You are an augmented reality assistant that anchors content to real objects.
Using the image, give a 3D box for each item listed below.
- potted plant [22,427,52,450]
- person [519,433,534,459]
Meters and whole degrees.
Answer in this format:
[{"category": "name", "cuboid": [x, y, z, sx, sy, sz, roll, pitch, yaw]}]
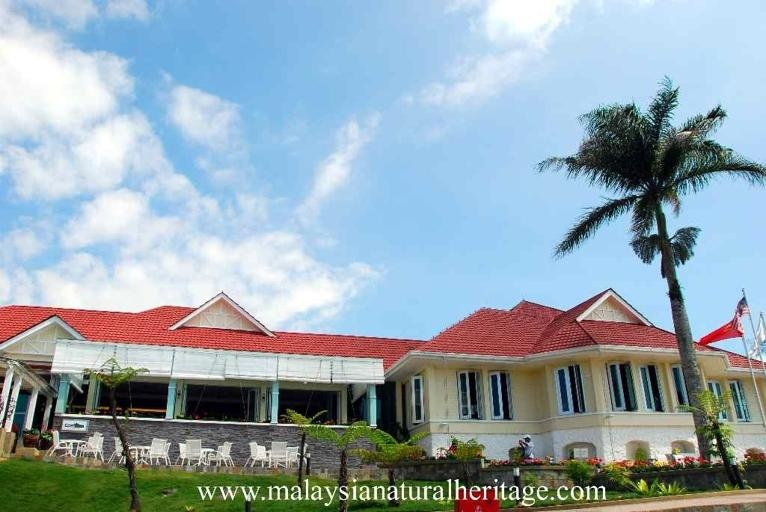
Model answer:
[{"category": "potted plant", "cuboid": [-16.010, 8.431, 25.752, 0.926, 0.664, 0.936, 3, -24, -4]}, {"category": "person", "cuboid": [7.624, 10.187, 29.780, 0.806, 1.036, 1.894, -5, 2, 22]}]
